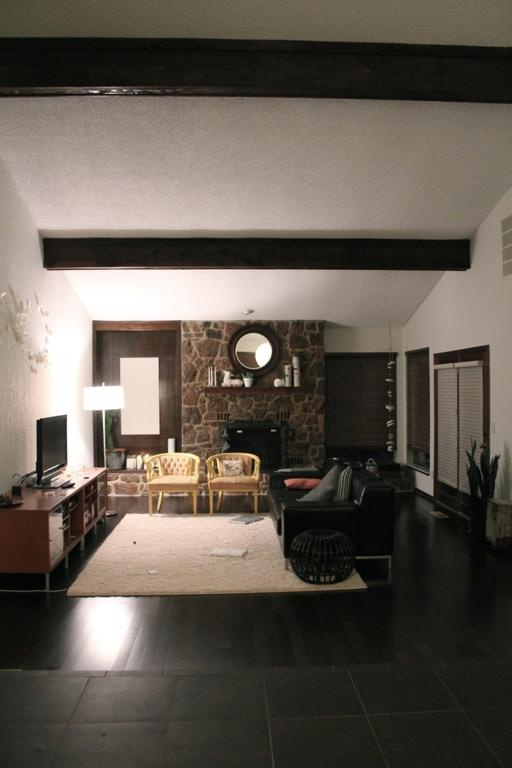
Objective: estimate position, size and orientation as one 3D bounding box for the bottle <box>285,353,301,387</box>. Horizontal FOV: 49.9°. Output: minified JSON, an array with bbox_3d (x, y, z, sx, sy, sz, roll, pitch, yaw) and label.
[{"bbox_3d":[0.522,-0.173,7.891,0.229,0.464,0.234,-4,0,0],"label":"bottle"}]

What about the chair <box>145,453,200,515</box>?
[{"bbox_3d":[-1.056,1.244,6.851,0.670,0.780,0.722,3,-7,-33],"label":"chair"}]

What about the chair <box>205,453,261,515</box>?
[{"bbox_3d":[-0.258,1.252,6.931,0.641,0.794,0.711,-2,-8,10],"label":"chair"}]

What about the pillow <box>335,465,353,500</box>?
[{"bbox_3d":[0.751,0.853,4.693,0.060,0.231,0.195,9,-16,-7],"label":"pillow"}]

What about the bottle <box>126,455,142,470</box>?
[{"bbox_3d":[-1.737,1.140,7.835,0.158,0.243,0.235,-1,0,2],"label":"bottle"}]

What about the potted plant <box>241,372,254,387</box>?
[{"bbox_3d":[-0.126,-0.062,7.814,0.157,0.206,0.167,0,-7,-3],"label":"potted plant"}]
